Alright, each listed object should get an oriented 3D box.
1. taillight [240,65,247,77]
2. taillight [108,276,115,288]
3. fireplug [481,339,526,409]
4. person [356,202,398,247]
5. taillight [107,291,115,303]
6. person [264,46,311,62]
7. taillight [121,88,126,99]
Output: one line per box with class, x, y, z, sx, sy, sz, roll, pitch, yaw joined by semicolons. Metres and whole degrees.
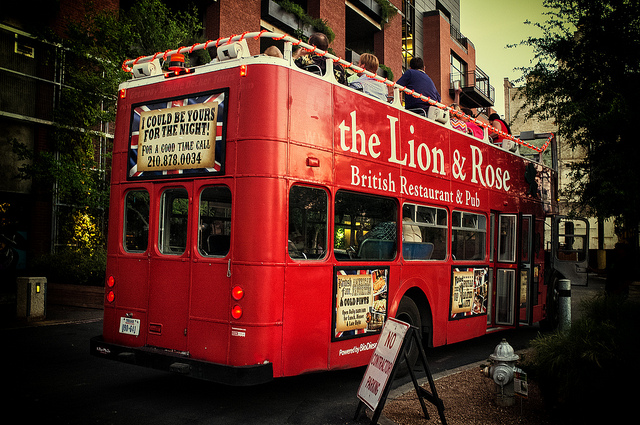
taillight;-1.277;-2.349;8.992;0.163;0.254;0.025;3;4;34
taillight;-3.825;1.270;9.871;0.158;0.203;0.042;2;3;30
fireplug;3.149;2.764;9.504;0.961;1.453;0.872;-2;-10;16
person;1.233;0.341;10.574;0.675;1.223;0.666;-6;-5;7
taillight;-3.805;1.530;9.830;0.144;0.169;0.027;-19;-4;-2
person;-0.651;-2.963;10.023;0.705;0.341;0.765;5;6;19
taillight;-3.658;-2.198;10.030;0.101;0.204;0.035;2;3;26
